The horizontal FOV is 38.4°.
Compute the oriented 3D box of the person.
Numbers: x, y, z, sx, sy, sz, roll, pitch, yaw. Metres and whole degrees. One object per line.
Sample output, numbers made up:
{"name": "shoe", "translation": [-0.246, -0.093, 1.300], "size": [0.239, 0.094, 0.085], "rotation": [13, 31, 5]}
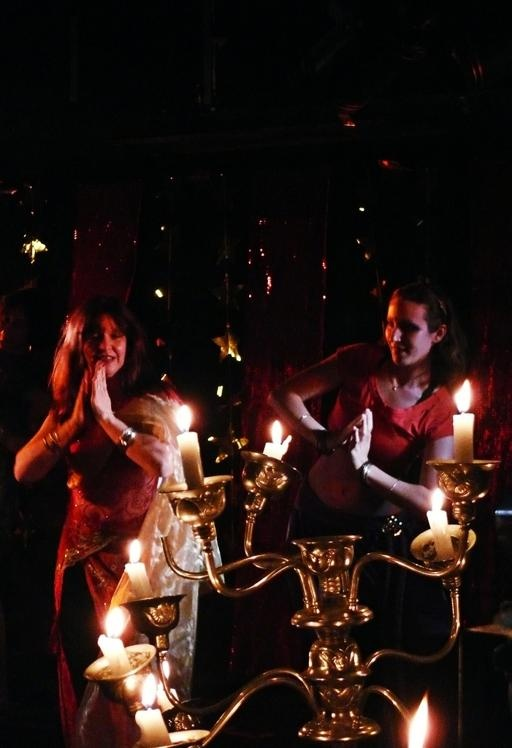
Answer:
{"name": "person", "translation": [0.039, 0.283, 1.446], "size": [0.952, 0.974, 0.359], "rotation": [-2, -11, 5]}
